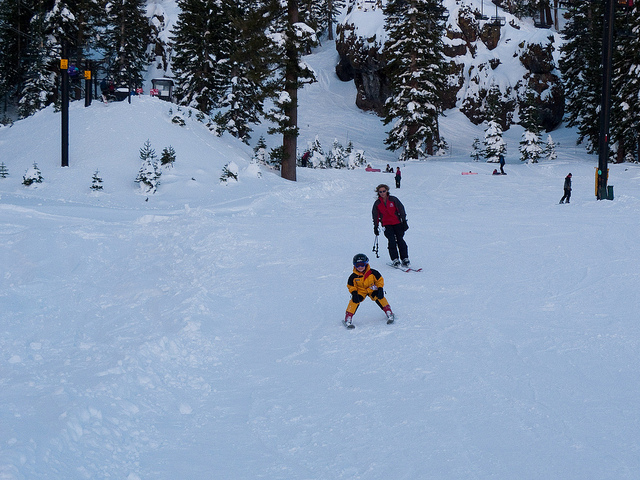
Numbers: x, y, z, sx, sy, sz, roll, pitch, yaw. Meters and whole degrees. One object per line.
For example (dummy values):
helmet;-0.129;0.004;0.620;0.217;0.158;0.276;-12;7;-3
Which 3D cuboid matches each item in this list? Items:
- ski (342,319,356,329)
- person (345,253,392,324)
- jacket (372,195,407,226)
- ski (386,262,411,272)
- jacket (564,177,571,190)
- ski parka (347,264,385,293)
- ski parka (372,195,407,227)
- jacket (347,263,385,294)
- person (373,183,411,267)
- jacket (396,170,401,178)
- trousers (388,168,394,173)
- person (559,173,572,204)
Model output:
ski;0.751;2.335;22.846;0.149;0.211;0.643;12;-9;-22
person;1.358;1.457;23.522;1.433;1.854;1.137;-9;12;-3
jacket;2.109;-0.953;26.160;1.121;1.022;0.565;-8;17;11
ski;2.503;0.871;26.229;0.878;0.203;0.103;12;0;45
jacket;10.307;-2.351;34.794;0.199;0.536;0.522;4;11;12
ski parka;1.221;1.108;22.629;1.049;1.027;0.596;-8;14;6
ski parka;2.124;-0.915;26.173;1.100;0.996;0.517;-10;4;12
jacket;1.210;1.190;22.625;1.018;0.998;0.768;-7;20;-1
person;2.237;-0.434;26.084;1.193;2.553;0.526;2;10;0
jacket;3.877;-3.296;41.682;0.161;0.394;0.317;3;11;6
trousers;4.207;-4.096;49.328;0.193;0.265;0.093;6;-7;16
person;10.293;-2.171;35.001;0.408;1.276;1.304;4;11;15
